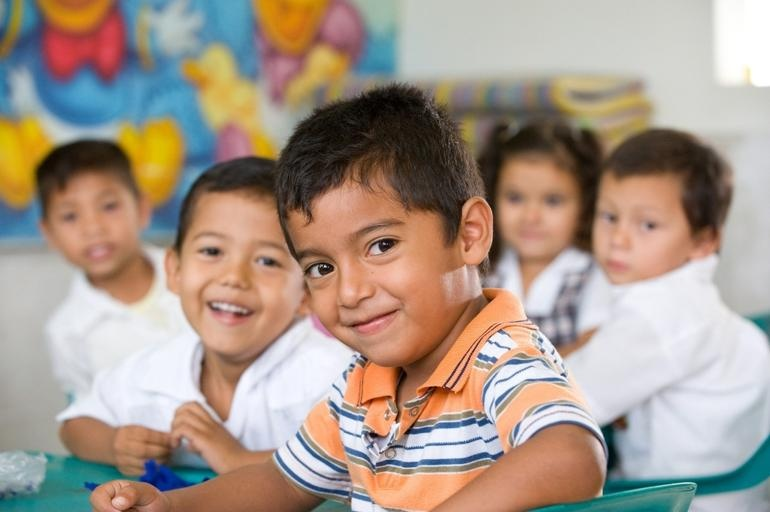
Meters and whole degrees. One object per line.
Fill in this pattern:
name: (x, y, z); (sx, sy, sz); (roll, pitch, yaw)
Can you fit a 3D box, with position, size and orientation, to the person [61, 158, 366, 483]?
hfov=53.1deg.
person: (-0.336, 0.159, 1.746); (0.814, 0.682, 0.534); (1, -6, 12)
